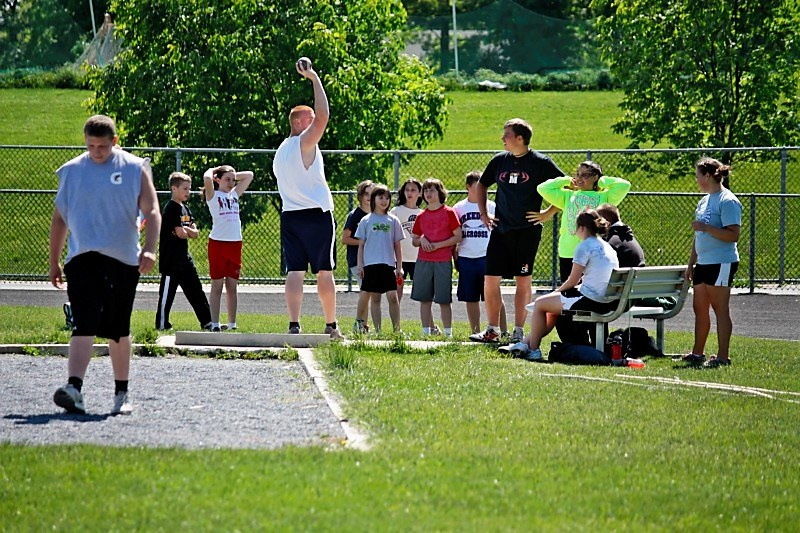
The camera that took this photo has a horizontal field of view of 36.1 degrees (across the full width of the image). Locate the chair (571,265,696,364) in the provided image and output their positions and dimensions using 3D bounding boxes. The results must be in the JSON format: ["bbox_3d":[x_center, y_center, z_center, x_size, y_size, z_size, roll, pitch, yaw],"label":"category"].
[{"bbox_3d":[3.216,0.639,17.297,1.734,1.140,0.770,0,0,-40],"label":"chair"}]

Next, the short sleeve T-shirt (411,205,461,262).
[{"bbox_3d":[0.578,-0.500,18.854,0.868,0.861,0.481,1,-1,19],"label":"short sleeve T-shirt"}]

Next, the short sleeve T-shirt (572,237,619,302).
[{"bbox_3d":[2.743,-0.012,17.034,0.784,0.910,0.514,-3,1,-32],"label":"short sleeve T-shirt"}]

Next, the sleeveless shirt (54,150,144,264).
[{"bbox_3d":[-3.587,-0.729,14.822,1.080,1.385,0.688,0,5,-6],"label":"sleeveless shirt"}]

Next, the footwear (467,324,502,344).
[{"bbox_3d":[1.209,0.976,17.603,0.489,0.236,0.188,1,0,-1],"label":"footwear"}]

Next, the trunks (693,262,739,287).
[{"bbox_3d":[4.307,0.117,16.960,0.349,0.338,0.495,16,-12,-30],"label":"trunks"}]

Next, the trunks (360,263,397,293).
[{"bbox_3d":[-0.339,0.206,18.883,0.664,0.586,0.386,1,-7,-9],"label":"trunks"}]

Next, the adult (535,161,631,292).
[{"bbox_3d":[2.526,-0.494,17.338,1.360,0.644,2.308,-1,43,13],"label":"adult"}]

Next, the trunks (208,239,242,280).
[{"bbox_3d":[-2.638,-0.127,18.583,0.547,0.742,0.410,3,-8,-31],"label":"trunks"}]

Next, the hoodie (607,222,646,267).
[{"bbox_3d":[3.398,-0.322,18.533,0.409,0.741,0.739,-11,-5,42],"label":"hoodie"}]

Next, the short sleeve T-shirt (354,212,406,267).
[{"bbox_3d":[-0.326,-0.419,18.814,0.792,0.853,0.442,2,-7,-8],"label":"short sleeve T-shirt"}]

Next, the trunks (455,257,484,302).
[{"bbox_3d":[1.067,0.173,18.690,0.600,0.762,0.421,1,-16,0],"label":"trunks"}]

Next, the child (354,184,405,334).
[{"bbox_3d":[-0.322,-0.135,18.749,0.753,2.181,0.586,-1,5,0],"label":"child"}]

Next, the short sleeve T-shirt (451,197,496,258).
[{"bbox_3d":[1.112,-0.564,18.525,0.868,1.041,0.408,1,-10,-3],"label":"short sleeve T-shirt"}]

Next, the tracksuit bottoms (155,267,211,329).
[{"bbox_3d":[-3.424,0.520,19.452,0.804,1.001,0.351,-6,-32,-18],"label":"tracksuit bottoms"}]

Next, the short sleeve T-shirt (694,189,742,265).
[{"bbox_3d":[4.420,-0.582,17.175,0.587,1.020,0.998,-1,0,-10],"label":"short sleeve T-shirt"}]

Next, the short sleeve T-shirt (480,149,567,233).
[{"bbox_3d":[1.718,-1.098,17.559,1.304,1.143,0.463,6,11,27],"label":"short sleeve T-shirt"}]

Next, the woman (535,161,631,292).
[{"bbox_3d":[2.527,-0.470,17.371,1.358,0.621,2.309,0,44,14],"label":"woman"}]

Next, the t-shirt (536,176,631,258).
[{"bbox_3d":[2.649,-0.733,17.844,1.554,1.446,0.472,2,-7,-1],"label":"t-shirt"}]

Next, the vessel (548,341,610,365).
[{"bbox_3d":[2.408,1.191,16.702,0.835,0.248,0.542,1,6,21],"label":"vessel"}]
